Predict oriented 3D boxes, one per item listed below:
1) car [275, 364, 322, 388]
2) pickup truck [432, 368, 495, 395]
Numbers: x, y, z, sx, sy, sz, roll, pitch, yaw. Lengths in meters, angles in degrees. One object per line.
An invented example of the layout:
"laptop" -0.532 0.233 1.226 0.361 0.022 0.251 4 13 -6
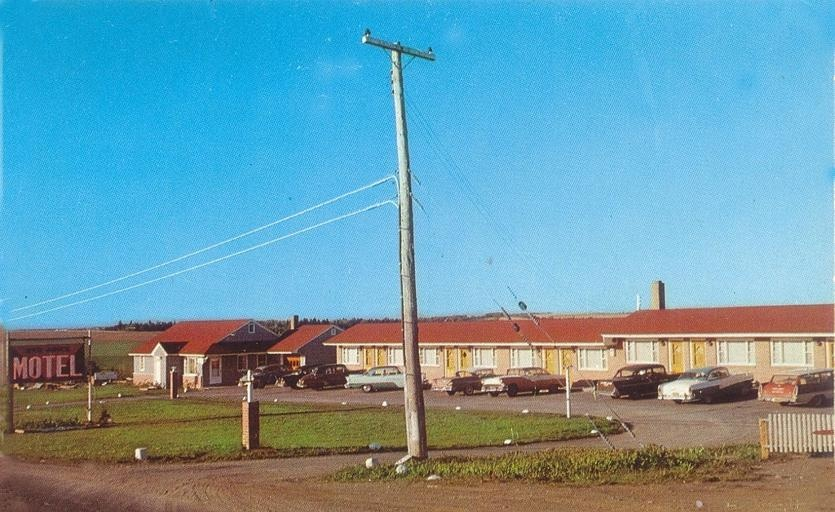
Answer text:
"car" -8.125 8.454 74.672 2.673 0.831 1.571 -6 1 -21
"pickup truck" 2.864 7.825 67.054 3.708 1.178 1.620 -3 2 -34
